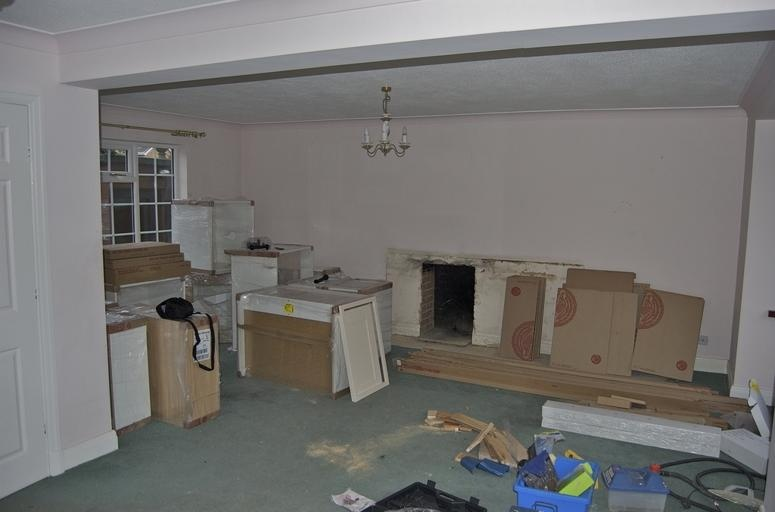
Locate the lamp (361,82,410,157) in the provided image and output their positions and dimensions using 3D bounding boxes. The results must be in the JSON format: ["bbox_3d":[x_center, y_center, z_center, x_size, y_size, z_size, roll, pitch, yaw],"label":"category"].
[{"bbox_3d":[-0.015,-1.636,6.176,0.732,0.775,0.698,-1,17,-1],"label":"lamp"}]

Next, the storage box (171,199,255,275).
[{"bbox_3d":[-2.669,-0.361,8.634,1.156,1.485,1.532,4,6,32],"label":"storage box"}]

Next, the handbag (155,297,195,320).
[{"bbox_3d":[-2.427,0.588,5.811,0.345,0.137,0.254,10,3,27],"label":"handbag"}]
